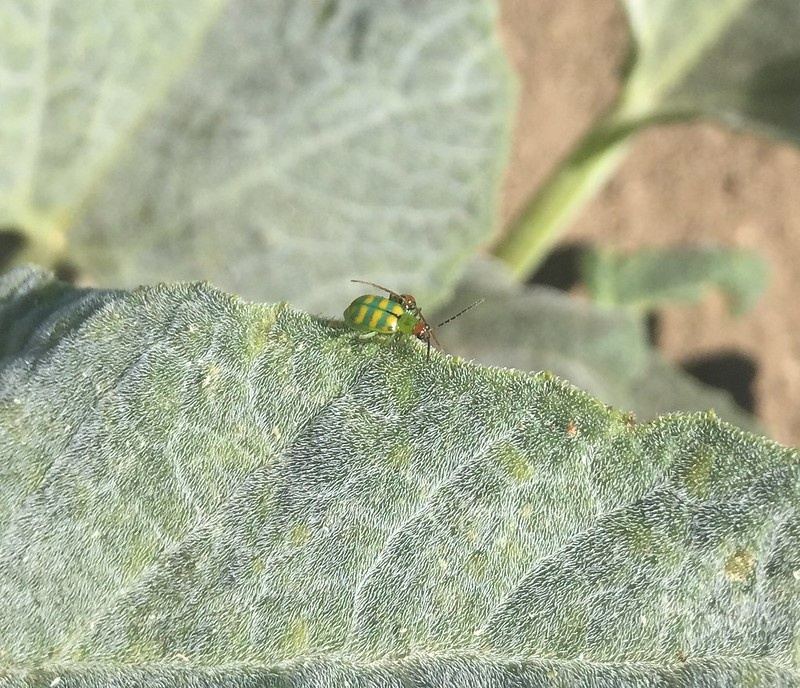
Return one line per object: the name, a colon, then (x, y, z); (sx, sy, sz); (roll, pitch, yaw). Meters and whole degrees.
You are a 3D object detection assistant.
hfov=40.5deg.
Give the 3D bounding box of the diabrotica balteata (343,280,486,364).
diabrotica balteata: (0.016, -0.072, 3.884); (0.361, 0.097, 0.254); (16, 53, -2)
